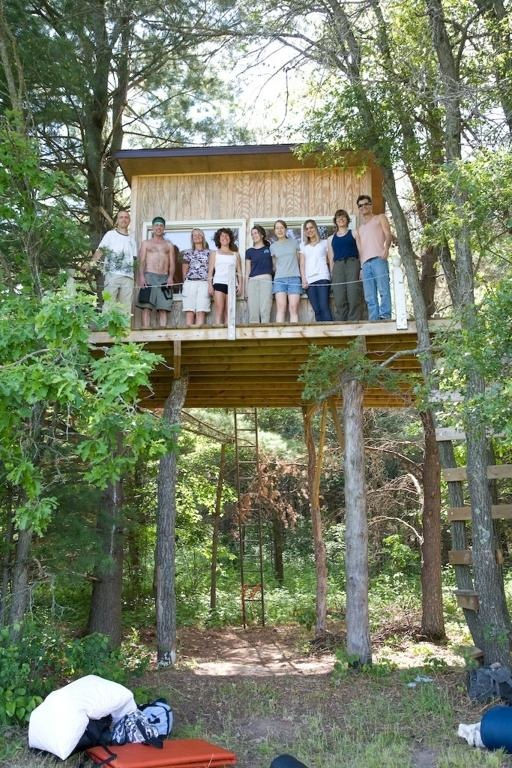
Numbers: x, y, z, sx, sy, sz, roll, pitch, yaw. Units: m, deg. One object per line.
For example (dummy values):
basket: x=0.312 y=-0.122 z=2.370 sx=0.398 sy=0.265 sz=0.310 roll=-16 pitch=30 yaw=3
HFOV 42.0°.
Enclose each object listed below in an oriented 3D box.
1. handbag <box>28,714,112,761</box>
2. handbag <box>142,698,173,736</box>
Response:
handbag: x=-1.219 y=2.601 z=4.916 sx=0.326 sy=0.108 sz=0.352 roll=3 pitch=-1 yaw=38
handbag: x=-0.819 y=2.783 z=5.461 sx=0.255 sy=0.215 sz=0.473 roll=1 pitch=-13 yaw=-10
